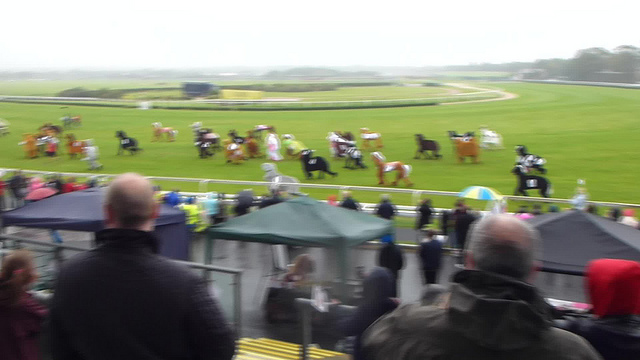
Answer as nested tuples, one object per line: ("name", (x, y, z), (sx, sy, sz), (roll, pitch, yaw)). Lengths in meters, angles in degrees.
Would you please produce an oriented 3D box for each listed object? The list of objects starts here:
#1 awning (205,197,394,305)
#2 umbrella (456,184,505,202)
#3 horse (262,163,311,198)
("awning", (0.598, 2.714, 31.372), (7.516, 2.601, 6.279), (3, 8, 27))
("umbrella", (7.809, 0.736, 34.568), (2.055, 0.955, 2.161), (1, 9, 11))
("horse", (-1.683, 0.114, 38.162), (3.695, 1.650, 1.203), (5, 3, -35))
